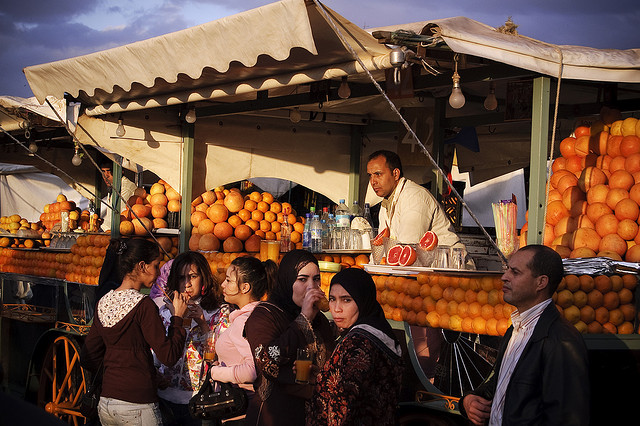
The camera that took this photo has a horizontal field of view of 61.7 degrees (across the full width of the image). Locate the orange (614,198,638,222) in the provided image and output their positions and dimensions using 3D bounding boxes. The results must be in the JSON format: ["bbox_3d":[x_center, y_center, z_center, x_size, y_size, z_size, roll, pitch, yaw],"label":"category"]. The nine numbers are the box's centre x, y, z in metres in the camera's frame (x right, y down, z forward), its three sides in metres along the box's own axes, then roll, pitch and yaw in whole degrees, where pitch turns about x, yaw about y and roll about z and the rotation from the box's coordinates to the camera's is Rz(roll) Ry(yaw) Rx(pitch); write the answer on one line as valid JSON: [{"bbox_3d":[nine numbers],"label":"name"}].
[{"bbox_3d":[2.827,-0.055,4.976,0.177,0.228,0.180,-14,14,-29],"label":"orange"}]

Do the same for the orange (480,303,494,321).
[{"bbox_3d":[1.457,0.866,4.689,0.100,0.134,0.108,0,5,3],"label":"orange"}]

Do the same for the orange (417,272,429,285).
[{"bbox_3d":[0.970,0.620,5.088,0.105,0.142,0.111,0,1,24],"label":"orange"}]

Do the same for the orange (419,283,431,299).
[{"bbox_3d":[0.986,0.731,5.054,0.108,0.141,0.110,5,6,44],"label":"orange"}]

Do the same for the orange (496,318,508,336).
[{"bbox_3d":[1.557,0.973,4.607,0.113,0.155,0.122,1,2,3],"label":"orange"}]

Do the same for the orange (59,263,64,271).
[{"bbox_3d":[-3.732,0.774,7.683,0.032,0.094,0.087,4,-4,-39],"label":"orange"}]

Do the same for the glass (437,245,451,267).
[{"bbox_3d":[1.181,0.417,5.105,0.140,0.268,0.149,-3,-6,32],"label":"glass"}]

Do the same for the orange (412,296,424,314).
[{"bbox_3d":[0.911,0.867,5.022,0.095,0.116,0.139,6,-1,10],"label":"orange"}]

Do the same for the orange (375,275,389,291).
[{"bbox_3d":[0.607,0.694,5.379,0.139,0.174,0.137,-1,2,-30],"label":"orange"}]

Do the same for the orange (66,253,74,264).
[{"bbox_3d":[-3.608,0.645,7.661,0.113,0.156,0.122,1,5,5],"label":"orange"}]

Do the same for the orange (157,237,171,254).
[{"bbox_3d":[-2.258,0.444,7.707,0.176,0.204,0.106,4,-4,-36],"label":"orange"}]

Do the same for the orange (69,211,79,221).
[{"bbox_3d":[-4.626,0.048,10.034,0.120,0.137,0.125,0,-5,12],"label":"orange"}]

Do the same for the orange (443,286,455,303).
[{"bbox_3d":[1.179,0.747,4.938,0.065,0.127,0.099,17,7,-32],"label":"orange"}]

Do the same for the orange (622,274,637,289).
[{"bbox_3d":[2.732,0.587,4.762,0.105,0.143,0.113,-9,9,-23],"label":"orange"}]

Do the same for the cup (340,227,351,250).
[{"bbox_3d":[0.309,0.310,6.821,0.132,0.273,0.112,2,-3,0],"label":"cup"}]

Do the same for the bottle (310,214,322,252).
[{"bbox_3d":[-0.059,0.245,6.708,0.160,0.455,0.487,2,-3,-1],"label":"bottle"}]

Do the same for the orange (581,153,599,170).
[{"bbox_3d":[2.749,-0.519,5.465,0.136,0.176,0.142,6,8,39],"label":"orange"}]

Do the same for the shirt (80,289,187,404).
[{"bbox_3d":[-1.632,1.106,4.554,0.893,0.909,0.614,-5,-10,17],"label":"shirt"}]

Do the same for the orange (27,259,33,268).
[{"bbox_3d":[-4.384,0.758,8.064,0.046,0.122,0.132,4,-4,-43],"label":"orange"}]

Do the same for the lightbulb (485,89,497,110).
[{"bbox_3d":[2.001,-1.347,6.301,0.118,0.234,0.175,0,-3,33],"label":"lightbulb"}]

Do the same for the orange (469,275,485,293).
[{"bbox_3d":[1.405,0.633,4.802,0.093,0.113,0.132,-1,0,-5],"label":"orange"}]

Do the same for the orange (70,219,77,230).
[{"bbox_3d":[-4.632,0.218,10.003,0.082,0.158,0.113,-7,2,23],"label":"orange"}]

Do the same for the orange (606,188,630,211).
[{"bbox_3d":[2.780,-0.153,5.086,0.170,0.226,0.184,5,-26,-2],"label":"orange"}]

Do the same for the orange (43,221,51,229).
[{"bbox_3d":[-5.559,0.212,10.872,0.054,0.167,0.163,-19,-21,-46],"label":"orange"}]

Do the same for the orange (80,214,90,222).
[{"bbox_3d":[-4.545,0.088,10.307,0.147,0.084,0.145,4,-2,-45],"label":"orange"}]

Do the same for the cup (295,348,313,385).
[{"bbox_3d":[-0.130,1.073,3.680,0.139,0.228,0.149,-4,-19,-1],"label":"cup"}]

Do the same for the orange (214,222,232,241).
[{"bbox_3d":[-1.336,0.250,7.315,0.206,0.239,0.218,0,-4,1],"label":"orange"}]

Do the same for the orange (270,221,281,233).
[{"bbox_3d":[-0.642,0.200,7.561,0.122,0.162,0.131,6,-2,-2],"label":"orange"}]

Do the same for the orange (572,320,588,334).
[{"bbox_3d":[2.242,0.971,4.613,0.130,0.104,0.067,4,-4,-37],"label":"orange"}]

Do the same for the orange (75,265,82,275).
[{"bbox_3d":[-3.353,0.778,7.379,0.105,0.119,0.037,-7,-12,36],"label":"orange"}]

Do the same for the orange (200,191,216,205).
[{"bbox_3d":[-1.607,-0.217,7.607,0.152,0.199,0.150,-8,11,-42],"label":"orange"}]

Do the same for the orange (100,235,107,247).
[{"bbox_3d":[-2.952,0.390,7.359,0.088,0.131,0.097,13,-22,14],"label":"orange"}]

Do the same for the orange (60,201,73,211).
[{"bbox_3d":[-4.909,-0.141,10.281,0.164,0.189,0.173,3,-5,8],"label":"orange"}]

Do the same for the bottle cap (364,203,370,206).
[{"bbox_3d":[0.706,-0.130,8.161,0.034,0.036,0.036,0,-4,23],"label":"bottle cap"}]

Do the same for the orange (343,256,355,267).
[{"bbox_3d":[0.340,0.585,6.415,0.097,0.127,0.099,-7,-6,41],"label":"orange"}]

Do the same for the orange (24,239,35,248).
[{"bbox_3d":[-5.254,0.547,9.625,0.123,0.141,0.131,-1,-6,-3],"label":"orange"}]

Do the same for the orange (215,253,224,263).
[{"bbox_3d":[-1.311,0.576,6.917,0.129,0.120,0.061,0,-3,35],"label":"orange"}]

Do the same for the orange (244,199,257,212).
[{"bbox_3d":[-1.004,-0.111,7.611,0.136,0.183,0.146,1,-2,15],"label":"orange"}]

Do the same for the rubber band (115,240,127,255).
[{"bbox_3d":[-1.735,0.298,4.667,0.095,0.106,0.025,1,-10,41],"label":"rubber band"}]

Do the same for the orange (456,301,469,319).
[{"bbox_3d":[1.281,0.875,4.827,0.109,0.156,0.125,5,-5,-14],"label":"orange"}]

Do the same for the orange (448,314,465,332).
[{"bbox_3d":[1.214,0.989,4.788,0.121,0.133,0.121,12,11,24],"label":"orange"}]

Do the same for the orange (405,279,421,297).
[{"bbox_3d":[0.888,0.732,5.133,0.078,0.190,0.095,15,-25,24],"label":"orange"}]

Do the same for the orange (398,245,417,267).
[{"bbox_3d":[0.818,0.403,5.075,0.166,0.189,0.085,1,-3,14],"label":"orange"}]

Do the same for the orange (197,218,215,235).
[{"bbox_3d":[-1.576,0.188,7.342,0.182,0.244,0.182,1,7,-40],"label":"orange"}]

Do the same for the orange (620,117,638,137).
[{"bbox_3d":[3.008,-0.834,5.217,0.140,0.191,0.151,-3,3,-22],"label":"orange"}]

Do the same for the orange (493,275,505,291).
[{"bbox_3d":[1.555,0.605,4.656,0.048,0.134,0.121,2,-3,-14],"label":"orange"}]
